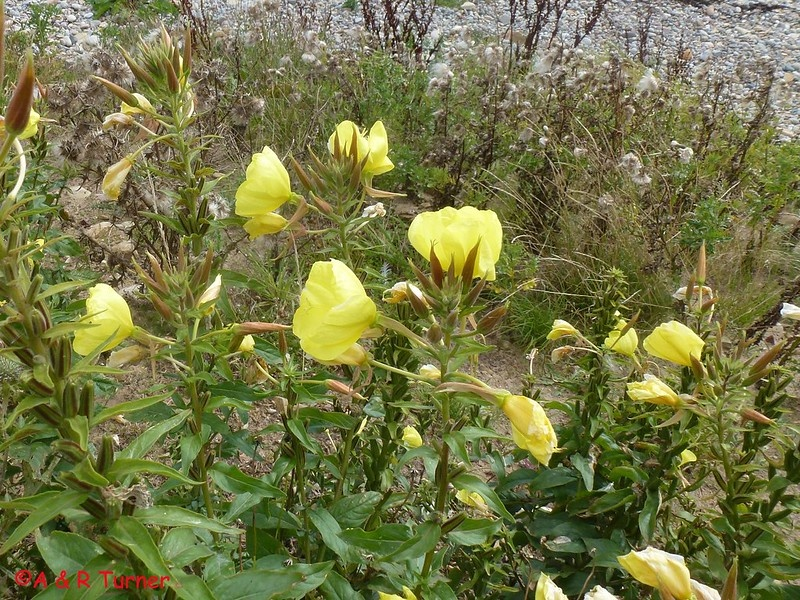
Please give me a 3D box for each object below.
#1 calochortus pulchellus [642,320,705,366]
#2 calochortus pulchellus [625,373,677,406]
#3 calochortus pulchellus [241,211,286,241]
[{"bbox_3d":[0.974,0.152,2.471,0.078,0.175,0.177,-14,24,-41],"label":"calochortus pulchellus"},{"bbox_3d":[0.896,0.342,2.438,0.145,0.059,0.114,20,52,40],"label":"calochortus pulchellus"},{"bbox_3d":[-0.500,-0.275,2.520,0.145,0.084,0.059,-8,24,-5],"label":"calochortus pulchellus"}]
